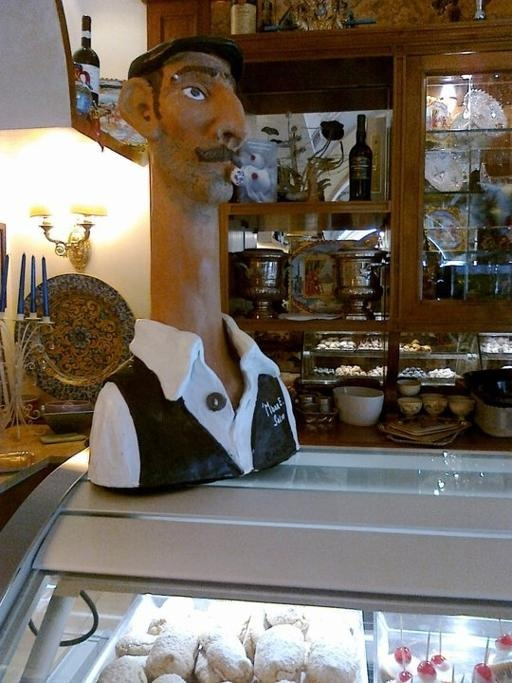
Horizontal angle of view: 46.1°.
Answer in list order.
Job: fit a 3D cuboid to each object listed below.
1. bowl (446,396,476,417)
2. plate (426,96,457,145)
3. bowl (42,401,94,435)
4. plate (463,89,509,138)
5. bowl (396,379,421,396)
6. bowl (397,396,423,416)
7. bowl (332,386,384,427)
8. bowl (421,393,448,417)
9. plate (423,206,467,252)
[{"bbox_3d":[0.652,0.207,1.921,0.072,0.052,0.064,4,-3,-15],"label":"bowl"},{"bbox_3d":[0.556,-0.674,1.862,0.107,0.135,0.048,1,9,-27],"label":"plate"},{"bbox_3d":[-0.595,0.241,1.894,0.167,0.077,0.158,1,-4,0],"label":"bowl"},{"bbox_3d":[0.705,-0.717,1.871,0.138,0.102,0.032,36,17,-9],"label":"plate"},{"bbox_3d":[0.512,0.150,2.041,0.066,0.040,0.064,2,5,0],"label":"bowl"},{"bbox_3d":[0.494,0.207,1.938,0.066,0.046,0.061,2,-2,0],"label":"bowl"},{"bbox_3d":[0.331,0.212,1.960,0.134,0.079,0.136,2,-11,0],"label":"bowl"},{"bbox_3d":[0.583,0.207,1.954,0.080,0.057,0.071,3,-3,-28],"label":"bowl"},{"bbox_3d":[0.610,-0.359,1.927,0.153,0.137,0.034,-5,11,-5],"label":"plate"}]
